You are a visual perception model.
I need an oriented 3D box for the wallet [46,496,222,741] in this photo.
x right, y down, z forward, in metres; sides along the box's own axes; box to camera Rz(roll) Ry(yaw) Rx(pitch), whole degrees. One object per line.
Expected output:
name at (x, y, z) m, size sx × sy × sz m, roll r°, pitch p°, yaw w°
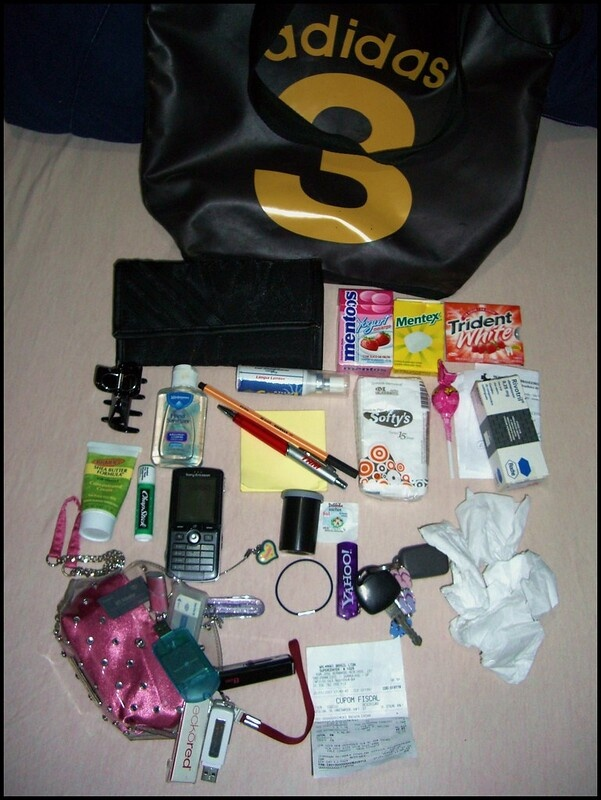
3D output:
wallet at (-0.235, 0.321, 1.068) m, size 0.217 × 0.086 × 0.404 m, roll 18°, pitch 79°, yaw 5°

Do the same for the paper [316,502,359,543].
paper at (0.062, 0.215, 1.116) m, size 0.067 × 0.008 × 0.070 m, roll 5°, pitch 68°, yaw 0°
